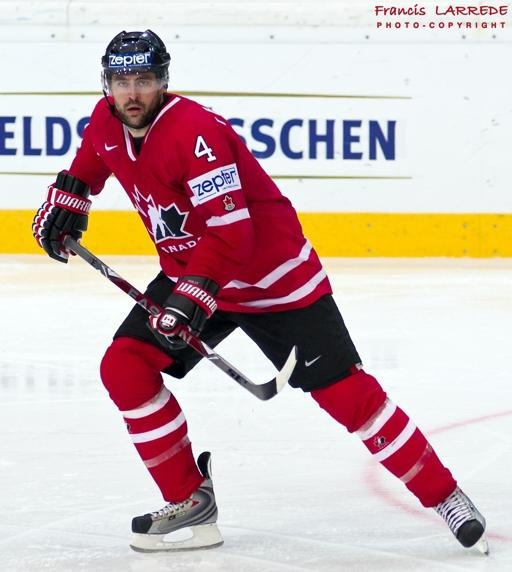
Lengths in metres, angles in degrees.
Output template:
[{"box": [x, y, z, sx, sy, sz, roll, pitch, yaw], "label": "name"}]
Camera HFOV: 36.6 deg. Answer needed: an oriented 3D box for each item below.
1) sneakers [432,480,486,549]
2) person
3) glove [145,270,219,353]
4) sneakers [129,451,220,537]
[{"box": [0.407, 0.464, 1.562, 0.064, 0.051, 0.148, 34, 13, -34], "label": "sneakers"}, {"box": [-0.062, 0.014, 1.571, 1.116, 1.010, 0.488, 6, 11, 24], "label": "person"}, {"box": [-0.128, 0.045, 1.400, 0.109, 0.145, 0.064, 40, 1, -13], "label": "glove"}, {"box": [-0.175, 0.439, 1.590, 0.214, 0.153, 0.072, 0, -5, -38], "label": "sneakers"}]
